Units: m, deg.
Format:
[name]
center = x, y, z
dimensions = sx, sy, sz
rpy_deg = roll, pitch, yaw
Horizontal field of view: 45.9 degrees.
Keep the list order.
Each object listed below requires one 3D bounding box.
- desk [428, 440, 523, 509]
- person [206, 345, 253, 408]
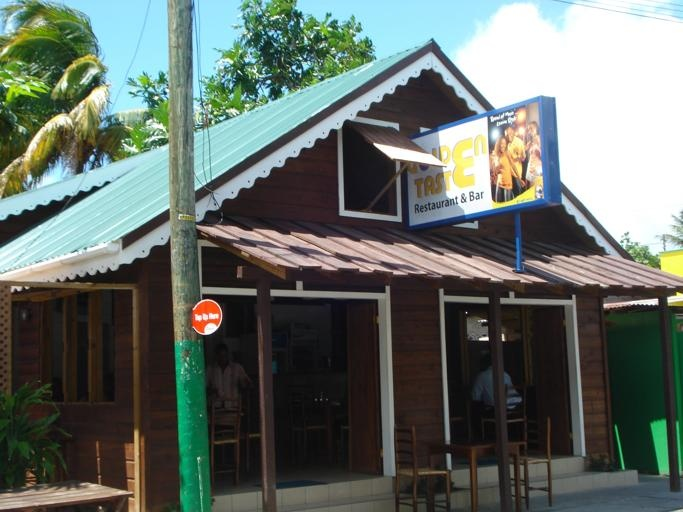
[desk]
center = 2.299, 3.373, 13.364
dimensions = 1.261, 1.427, 1.453
rpy_deg = -8, -11, 42
[person]
center = -1.986, 2.084, 14.071
dimensions = 0.723, 1.174, 1.198
rpy_deg = -2, -13, -2
